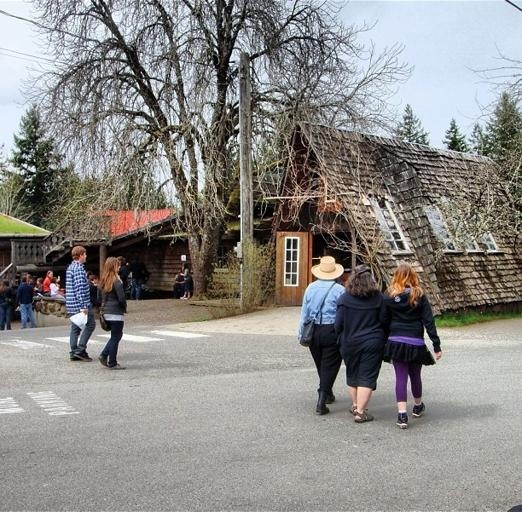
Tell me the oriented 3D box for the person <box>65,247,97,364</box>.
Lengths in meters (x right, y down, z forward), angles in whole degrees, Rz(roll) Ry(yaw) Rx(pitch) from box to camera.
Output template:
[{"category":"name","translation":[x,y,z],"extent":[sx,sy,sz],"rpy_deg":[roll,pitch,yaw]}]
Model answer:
[{"category":"person","translation":[-3.490,0.892,9.759],"extent":[0.514,2.196,1.437],"rpy_deg":[0,-4,-21]}]

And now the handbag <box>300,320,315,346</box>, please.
[{"category":"handbag","translation":[0.552,0.898,5.981],"extent":[0.088,0.257,0.185],"rpy_deg":[18,-29,-3]}]

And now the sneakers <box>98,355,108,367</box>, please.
[{"category":"sneakers","translation":[-2.792,1.837,8.941],"extent":[0.086,0.233,0.150],"rpy_deg":[-21,10,-28]}]

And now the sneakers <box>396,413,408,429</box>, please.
[{"category":"sneakers","translation":[1.472,1.681,5.267],"extent":[0.108,0.162,0.196],"rpy_deg":[-3,-4,12]}]

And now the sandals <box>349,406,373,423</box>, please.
[{"category":"sandals","translation":[1.091,1.716,5.528],"extent":[0.101,0.152,0.299],"rpy_deg":[1,1,39]}]

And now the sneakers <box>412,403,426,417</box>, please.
[{"category":"sneakers","translation":[1.773,1.704,5.667],"extent":[0.073,0.126,0.236],"rpy_deg":[-1,-6,28]}]

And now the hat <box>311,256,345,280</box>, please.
[{"category":"hat","translation":[1.187,0.206,9.543],"extent":[0.684,0.384,0.925],"rpy_deg":[-3,6,0]}]

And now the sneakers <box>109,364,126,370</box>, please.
[{"category":"sneakers","translation":[-2.517,1.918,8.818],"extent":[0.248,0.136,0.111],"rpy_deg":[0,-2,-6]}]

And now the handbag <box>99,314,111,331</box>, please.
[{"category":"handbag","translation":[-2.680,1.131,8.655],"extent":[0.177,0.307,0.248],"rpy_deg":[6,-3,-13]}]

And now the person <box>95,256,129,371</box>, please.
[{"category":"person","translation":[-2.622,0.974,8.904],"extent":[0.451,1.960,0.795],"rpy_deg":[0,-4,-19]}]

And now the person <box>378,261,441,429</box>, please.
[{"category":"person","translation":[1.621,0.926,5.507],"extent":[0.581,1.701,0.460],"rpy_deg":[-1,-3,-15]}]

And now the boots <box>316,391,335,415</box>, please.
[{"category":"boots","translation":[0.760,1.704,6.012],"extent":[0.125,0.233,0.441],"rpy_deg":[0,6,16]}]

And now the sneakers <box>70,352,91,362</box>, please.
[{"category":"sneakers","translation":[-3.472,1.899,9.773],"extent":[0.419,0.228,0.183],"rpy_deg":[7,-5,-10]}]

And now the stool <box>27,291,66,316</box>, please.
[{"category":"stool","translation":[-7.781,1.780,18.553],"extent":[1.149,0.489,0.907],"rpy_deg":[0,-2,18]}]
